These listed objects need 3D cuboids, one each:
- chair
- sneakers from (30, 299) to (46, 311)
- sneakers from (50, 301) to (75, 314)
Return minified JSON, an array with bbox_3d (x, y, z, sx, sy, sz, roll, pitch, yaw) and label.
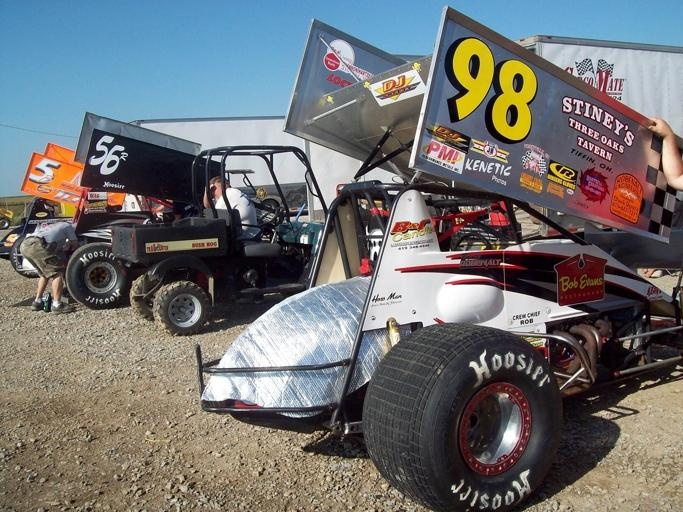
[{"bbox_3d":[-1.494,-0.322,6.899,1.196,0.636,1.132,1,-2,9],"label":"chair"},{"bbox_3d":[-4.857,0.778,7.416,0.116,0.121,0.273,6,10,28],"label":"sneakers"},{"bbox_3d":[-4.341,0.792,7.195,0.348,0.155,0.148,-4,8,-28],"label":"sneakers"}]
